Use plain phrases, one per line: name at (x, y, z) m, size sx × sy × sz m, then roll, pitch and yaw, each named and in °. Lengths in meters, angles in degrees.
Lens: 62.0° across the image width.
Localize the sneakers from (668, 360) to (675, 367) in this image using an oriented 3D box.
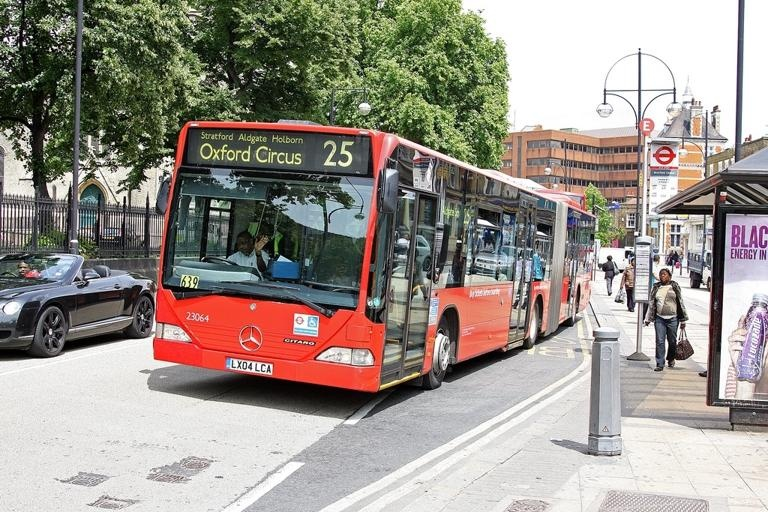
sneakers at (6.484, 2.426, 14.388) m, size 0.143 × 0.176 × 0.193 m, roll -3°, pitch -5°, yaw 28°

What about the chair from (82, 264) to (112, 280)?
chair at (-6.123, 0.354, 13.461) m, size 0.313 × 0.166 × 0.435 m, roll 2°, pitch 3°, yaw 28°

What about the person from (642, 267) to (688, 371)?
person at (6.155, 1.394, 13.950) m, size 0.810 × 2.235 × 0.918 m, roll 3°, pitch 2°, yaw 23°
